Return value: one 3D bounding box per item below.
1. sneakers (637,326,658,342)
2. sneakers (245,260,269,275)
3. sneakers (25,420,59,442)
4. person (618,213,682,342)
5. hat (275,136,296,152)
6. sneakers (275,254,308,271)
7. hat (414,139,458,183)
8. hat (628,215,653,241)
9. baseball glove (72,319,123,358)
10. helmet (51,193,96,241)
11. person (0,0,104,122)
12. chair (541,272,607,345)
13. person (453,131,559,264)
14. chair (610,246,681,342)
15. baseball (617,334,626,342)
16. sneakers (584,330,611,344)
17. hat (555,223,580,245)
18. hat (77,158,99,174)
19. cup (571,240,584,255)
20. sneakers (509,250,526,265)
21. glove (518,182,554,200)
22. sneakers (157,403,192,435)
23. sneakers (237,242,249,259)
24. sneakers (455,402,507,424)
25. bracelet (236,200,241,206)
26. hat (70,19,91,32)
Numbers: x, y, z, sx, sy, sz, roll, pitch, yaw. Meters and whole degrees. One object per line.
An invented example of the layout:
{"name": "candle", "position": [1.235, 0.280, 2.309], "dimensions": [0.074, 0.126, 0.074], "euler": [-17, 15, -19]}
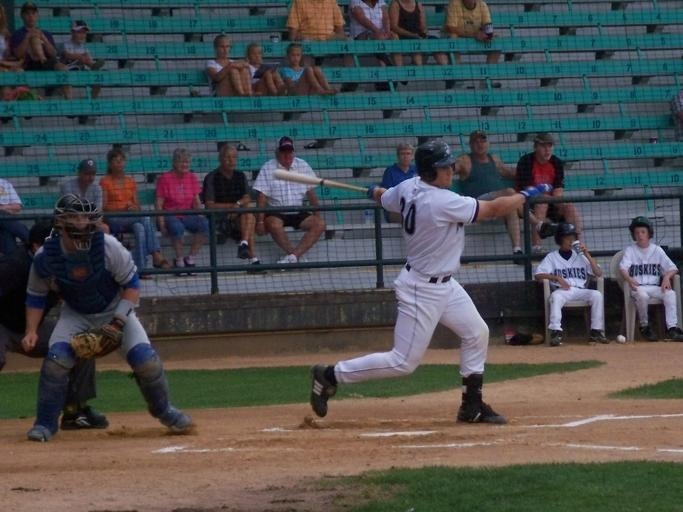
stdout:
{"name": "sneakers", "position": [4.350, 1.073, 26.003], "dimensions": [0.247, 0.224, 0.328], "euler": [-1, 7, 7]}
{"name": "sneakers", "position": [-1.226, 0.163, 25.969], "dimensions": [0.397, 0.264, 0.130], "euler": [0, 2, 0]}
{"name": "sneakers", "position": [-3.562, 2.080, 21.676], "dimensions": [0.331, 0.209, 0.218], "euler": [-4, 7, -14]}
{"name": "person", "position": [4.425, 0.317, 26.028], "dimensions": [0.843, 1.686, 0.521], "euler": [3, 9, 33]}
{"name": "hat", "position": [-0.823, -1.625, 26.414], "dimensions": [0.231, 0.210, 0.277], "euler": [-2, 7, -2]}
{"name": "sneakers", "position": [-0.743, 0.083, 26.046], "dimensions": [0.488, 0.209, 0.162], "euler": [2, -4, -19]}
{"name": "hat", "position": [1.078, -1.148, 21.824], "dimensions": [0.516, 0.478, 0.403], "euler": [8, 16, 39]}
{"name": "hat", "position": [4.295, -0.463, 26.300], "dimensions": [0.253, 0.251, 0.346], "euler": [2, 6, 11]}
{"name": "baseball glove", "position": [-2.916, 0.964, 21.632], "dimensions": [0.546, 0.414, 0.246], "euler": [13, 16, 0]}
{"name": "helmet", "position": [-3.120, -0.459, 21.620], "dimensions": [0.536, 0.492, 0.483], "euler": [-1, -1, 42]}
{"name": "person", "position": [-4.470, -3.028, 28.666], "dimensions": [1.393, 1.874, 0.945], "euler": [-7, 9, -33]}
{"name": "chair", "position": [3.282, 0.796, 26.062], "dimensions": [0.900, 1.168, 0.963], "euler": [-1, -20, 5]}
{"name": "person", "position": [2.317, -0.760, 25.847], "dimensions": [2.015, 1.510, 1.183], "euler": [-10, 6, -34]}
{"name": "chair", "position": [4.161, 0.616, 26.095], "dimensions": [1.183, 1.533, 1.190], "euler": [1, -7, -6]}
{"name": "baseball", "position": [3.952, 1.159, 25.937], "dimensions": [0.084, 0.086, 0.110], "euler": [5, 10, 29]}
{"name": "sneakers", "position": [3.599, 1.132, 25.827], "dimensions": [0.343, 0.235, 0.125], "euler": [-1, -1, 7]}
{"name": "hat", "position": [3.197, -0.317, 26.091], "dimensions": [0.277, 0.275, 0.298], "euler": [-4, 4, -25]}
{"name": "hat", "position": [-3.635, -1.286, 25.903], "dimensions": [0.198, 0.136, 0.268], "euler": [4, -1, -28]}
{"name": "cup", "position": [3.322, -0.147, 25.985], "dimensions": [0.162, 0.172, 0.175], "euler": [-5, -7, -1]}
{"name": "sneakers", "position": [2.540, 0.006, 26.468], "dimensions": [0.203, 0.247, 0.613], "euler": [0, 0, 8]}
{"name": "glove", "position": [2.513, -0.856, 23.822], "dimensions": [0.554, 0.161, 0.180], "euler": [-2, 46, -2]}
{"name": "sneakers", "position": [-1.954, 1.959, 21.761], "dimensions": [0.263, 0.434, 0.196], "euler": [-47, 13, -19]}
{"name": "sneakers", "position": [-1.406, -0.089, 25.996], "dimensions": [0.249, 0.260, 0.575], "euler": [0, -2, -5]}
{"name": "sneakers", "position": [1.670, 1.889, 22.008], "dimensions": [0.600, 0.240, 0.228], "euler": [-1, -6, 4]}
{"name": "bracelet", "position": [-1.503, -0.774, 26.466], "dimensions": [0.073, 0.036, 0.101], "euler": [1, -17, -6]}
{"name": "hat", "position": [-4.167, -3.673, 29.010], "dimensions": [0.232, 0.191, 0.359], "euler": [-1, -2, -19]}
